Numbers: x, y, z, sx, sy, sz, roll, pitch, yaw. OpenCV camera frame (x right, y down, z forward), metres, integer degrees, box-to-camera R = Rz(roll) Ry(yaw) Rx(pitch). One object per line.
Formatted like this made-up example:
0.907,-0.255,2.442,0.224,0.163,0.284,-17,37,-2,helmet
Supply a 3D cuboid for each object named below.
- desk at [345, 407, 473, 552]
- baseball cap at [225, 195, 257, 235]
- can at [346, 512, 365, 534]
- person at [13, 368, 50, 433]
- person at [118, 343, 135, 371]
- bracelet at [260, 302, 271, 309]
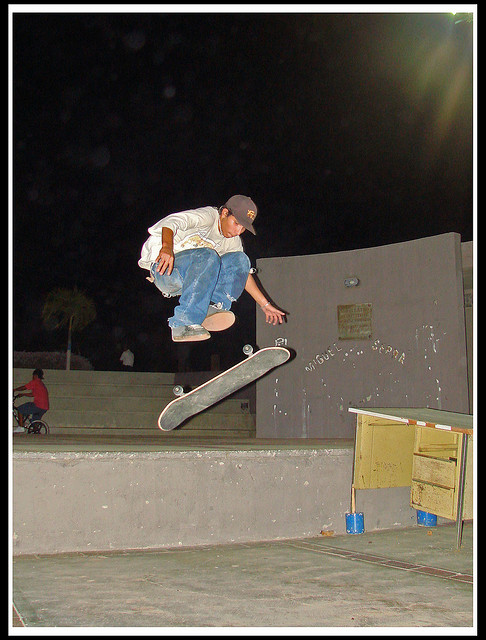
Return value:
1.322,1.262,6.290,0.932,0.943,0.702,5,-6,33,desk
-0.005,-0.856,6.421,0.304,0.170,0.196,45,12,31,baseball cap
0.873,1.600,6.391,0.135,0.170,0.152,4,-21,-5,can
-2.955,1.118,11.330,0.375,0.837,0.638,0,-2,35,person
-2.771,0.871,19.456,0.368,0.658,1.108,1,-2,-8,person
0.192,-0.124,7.061,0.105,0.029,0.026,-39,-42,11,bracelet
